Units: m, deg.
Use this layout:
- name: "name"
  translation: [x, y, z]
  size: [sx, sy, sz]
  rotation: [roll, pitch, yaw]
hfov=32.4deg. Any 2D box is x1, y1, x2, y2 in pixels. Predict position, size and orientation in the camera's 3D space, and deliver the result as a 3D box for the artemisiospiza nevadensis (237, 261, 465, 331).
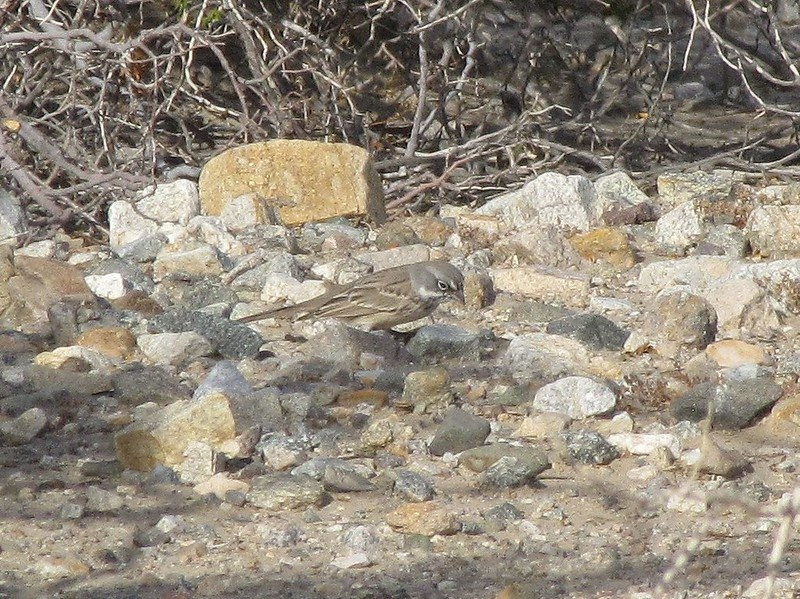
- name: "artemisiospiza nevadensis"
  translation: [-0.193, 0.033, 9.032]
  size: [1.232, 0.359, 0.380]
  rotation: [-15, 67, -6]
